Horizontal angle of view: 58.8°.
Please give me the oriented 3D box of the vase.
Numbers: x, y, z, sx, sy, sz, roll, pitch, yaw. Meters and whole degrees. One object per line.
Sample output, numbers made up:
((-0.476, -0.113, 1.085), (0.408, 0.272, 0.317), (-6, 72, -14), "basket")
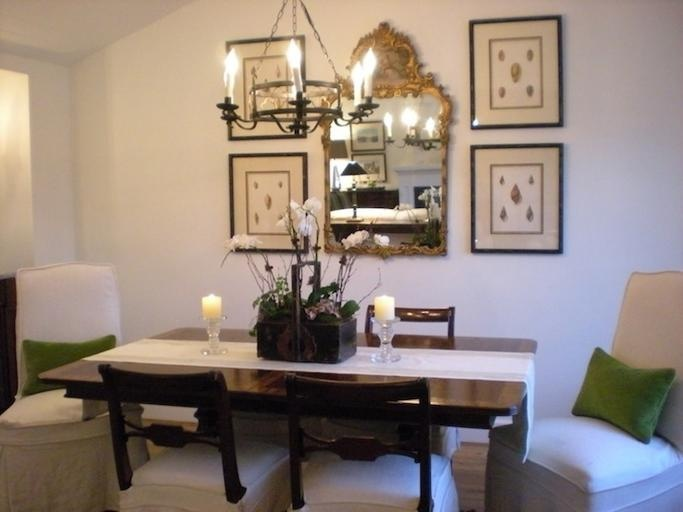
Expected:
((-0.168, 0.269, 2.954), (0.435, 0.463, 0.261), (1, 4, 22), "vase")

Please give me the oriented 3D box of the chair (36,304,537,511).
((-0.230, 0.829, 3.203), (2.362, 1.001, 1.511), (2, 7, 18), "chair")

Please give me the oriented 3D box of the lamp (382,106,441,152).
((0.485, -0.799, 4.008), (0.280, 0.160, 0.214), (0, 6, -30), "lamp")

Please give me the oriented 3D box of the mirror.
((0.288, -0.786, 4.036), (0.888, 1.532, 0.045), (0, -6, 4), "mirror")

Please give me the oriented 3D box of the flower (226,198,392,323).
((-0.149, 0.077, 3.247), (0.991, 0.802, 0.757), (0, 0, 5), "flower")

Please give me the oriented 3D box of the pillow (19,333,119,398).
((-1.655, 0.724, 3.676), (0.403, 0.188, 0.703), (-12, -6, -22), "pillow")

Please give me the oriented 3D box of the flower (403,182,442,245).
((0.572, -0.259, 4.118), (0.285, 0.458, 0.303), (-4, 8, -20), "flower")

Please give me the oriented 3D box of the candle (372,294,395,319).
((0.199, 0.231, 2.877), (0.097, 0.118, 0.101), (2, 3, 26), "candle")

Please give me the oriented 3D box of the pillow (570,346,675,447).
((1.323, 0.659, 2.817), (0.158, 0.304, 0.411), (38, -17, -21), "pillow")
